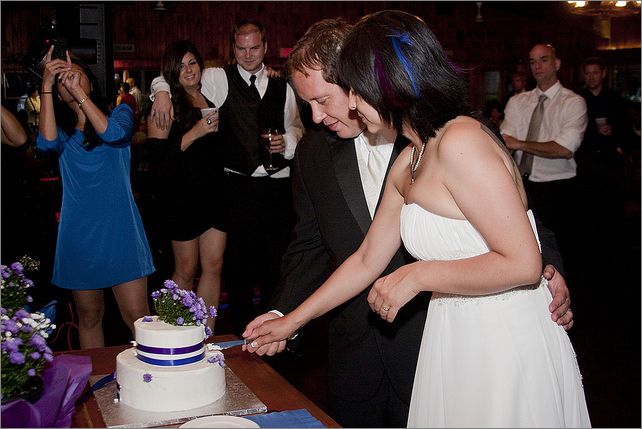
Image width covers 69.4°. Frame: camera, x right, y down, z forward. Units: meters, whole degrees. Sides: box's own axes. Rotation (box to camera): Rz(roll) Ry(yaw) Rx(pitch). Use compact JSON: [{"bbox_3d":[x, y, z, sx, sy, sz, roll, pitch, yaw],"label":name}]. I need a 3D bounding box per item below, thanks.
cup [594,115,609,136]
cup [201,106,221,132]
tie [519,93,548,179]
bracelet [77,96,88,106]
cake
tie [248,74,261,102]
[{"bbox_3d":[3.368,-1.050,5.554,0.159,0.176,0.164,-25,23,11],"label":"cup"},{"bbox_3d":[-0.794,-0.698,3.424,0.140,0.164,0.150,-1,17,0],"label":"cup"},{"bbox_3d":[2.366,-0.850,5.109,0.160,1.299,0.101,11,-9,12],"label":"tie"},{"bbox_3d":[-1.556,-0.738,3.026,0.065,0.021,0.027,-35,21,6],"label":"bracelet"},{"bbox_3d":[-0.544,0.506,1.678,0.297,0.222,0.316,2,0,-5],"label":"cake"},{"bbox_3d":[-0.566,-1.063,3.954,0.056,0.295,0.075,-8,-1,25],"label":"tie"}]
